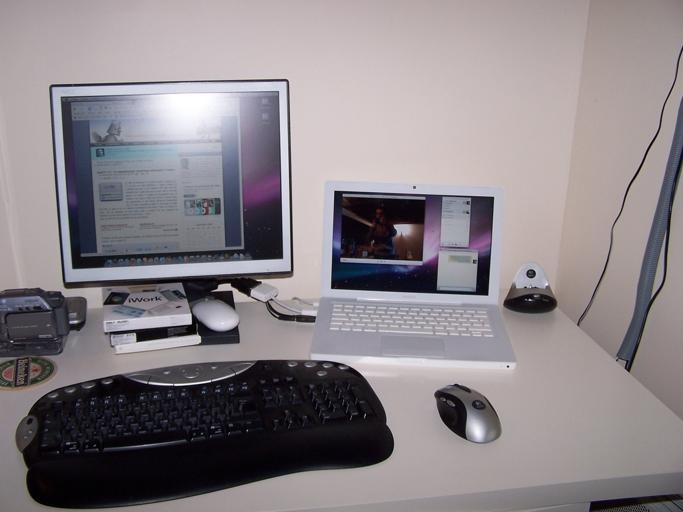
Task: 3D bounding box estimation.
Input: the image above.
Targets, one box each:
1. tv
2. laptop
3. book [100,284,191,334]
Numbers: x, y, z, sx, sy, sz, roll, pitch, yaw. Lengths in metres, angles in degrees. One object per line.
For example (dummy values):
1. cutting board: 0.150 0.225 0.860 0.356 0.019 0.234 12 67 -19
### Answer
1. tv: -0.429 -0.129 1.345 0.632 0.656 0.210 -1 12 -6
2. laptop: 0.179 0.079 1.437 0.545 0.361 0.444 1 35 -1
3. book: -0.488 0.128 1.332 0.135 0.034 0.149 -2 24 -20
